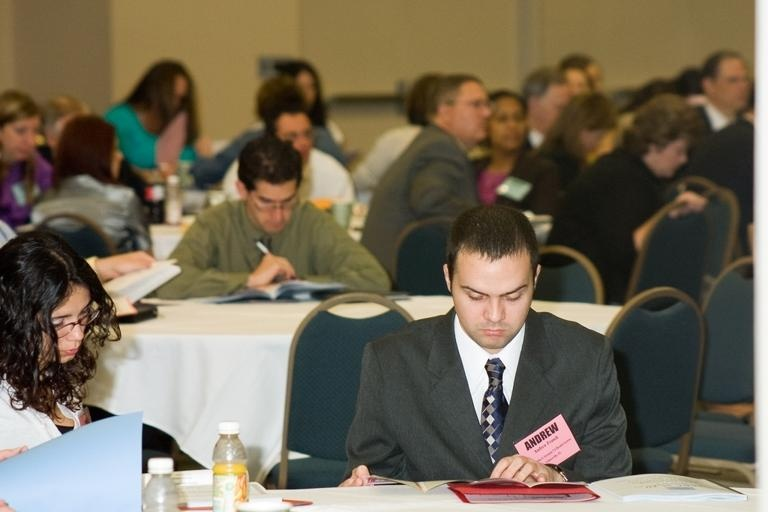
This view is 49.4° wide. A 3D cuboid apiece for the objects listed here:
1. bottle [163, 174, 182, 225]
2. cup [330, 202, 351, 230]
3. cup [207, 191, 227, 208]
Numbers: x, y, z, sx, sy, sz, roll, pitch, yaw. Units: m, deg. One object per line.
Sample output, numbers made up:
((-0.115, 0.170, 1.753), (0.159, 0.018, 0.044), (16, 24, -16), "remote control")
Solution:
((-0.952, -0.258, 3.787), (0.085, 0.225, 0.024), (1, 4, 13), "bottle")
((-0.194, -0.195, 3.965), (0.104, 0.122, 0.106), (0, -4, 0), "cup")
((-0.762, -0.261, 3.820), (0.069, 0.052, 0.071), (-1, 2, 0), "cup")
